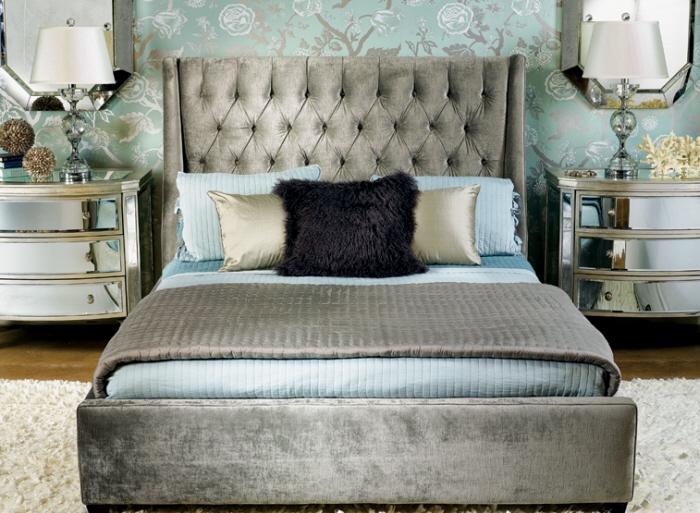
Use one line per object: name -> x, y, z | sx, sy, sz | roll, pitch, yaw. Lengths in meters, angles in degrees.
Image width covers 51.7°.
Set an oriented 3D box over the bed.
bed -> 0.039, -0.093, 3.484 | 1.871, 1.479, 2.381 | 0, 9, 2
